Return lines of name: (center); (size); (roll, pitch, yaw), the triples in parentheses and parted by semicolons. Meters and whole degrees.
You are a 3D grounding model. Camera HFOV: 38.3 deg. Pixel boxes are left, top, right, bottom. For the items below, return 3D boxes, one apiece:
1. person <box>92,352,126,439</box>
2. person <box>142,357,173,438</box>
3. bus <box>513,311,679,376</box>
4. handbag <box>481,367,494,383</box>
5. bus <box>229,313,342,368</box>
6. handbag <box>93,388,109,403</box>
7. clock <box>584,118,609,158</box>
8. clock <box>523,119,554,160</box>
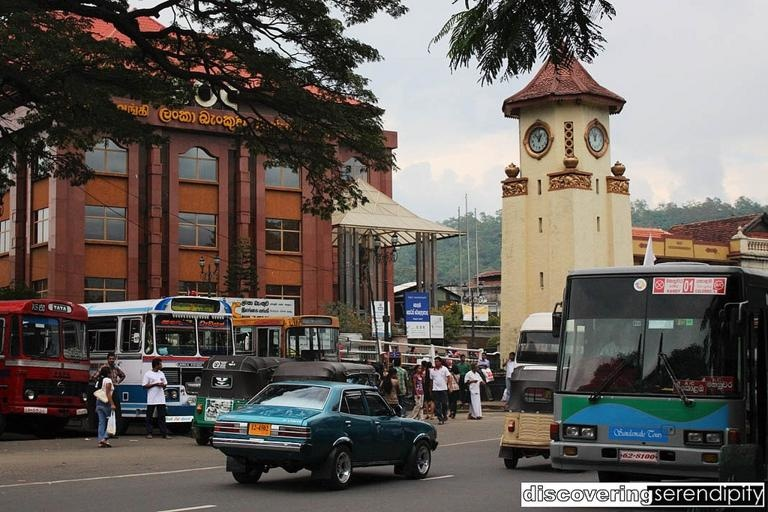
person: (-8.277, 4.255, 33.327); (1.149, 2.935, 1.080); (-11, -3, -3)
person: (-7.155, 4.499, 35.107); (0.896, 2.456, 0.746); (1, -6, -34)
bus: (4.907, 2.065, 25.536); (1.882, 2.673, 2.990); (-2, -15, 10)
handbag: (4.425, 5.143, 47.973); (0.701, 0.296, 0.983); (0, -26, -2)
bus: (-4.246, 3.656, 47.959); (4.120, 1.876, 2.006); (-4, -5, 29)
handbag: (-8.275, 4.143, 32.612); (0.353, 0.420, 0.151); (-3, 2, 14)
clock: (11.580, -6.396, 60.775); (1.996, 1.994, 0.248); (4, -5, -39)
clock: (8.462, -6.374, 60.656); (0.248, 2.212, 2.173); (0, -4, -40)
